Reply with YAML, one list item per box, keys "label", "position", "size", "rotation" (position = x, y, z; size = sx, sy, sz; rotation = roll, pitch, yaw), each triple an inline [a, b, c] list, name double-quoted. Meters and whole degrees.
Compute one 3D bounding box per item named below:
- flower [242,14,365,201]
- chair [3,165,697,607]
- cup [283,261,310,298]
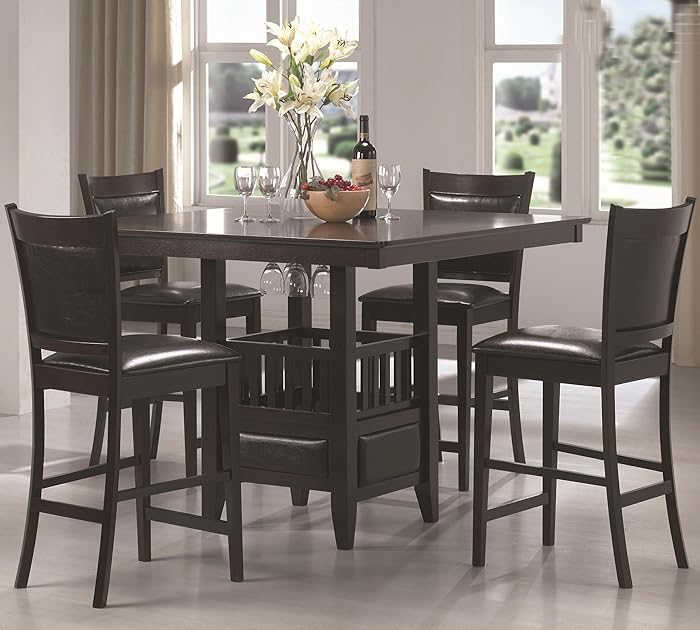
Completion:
- label: "flower"
  position: [-0.161, -0.691, 2.493]
  size: [0.295, 0.540, 0.316]
  rotation: [14, 33, 20]
- label: "chair"
  position: [-0.102, 0.168, 2.084]
  size: [1.536, 0.984, 0.979]
  rotation: [-1, 4, -9]
- label: "cup"
  position: [-0.167, -0.106, 2.346]
  size: [0.088, 0.100, 0.093]
  rotation: [-1, -2, 0]
